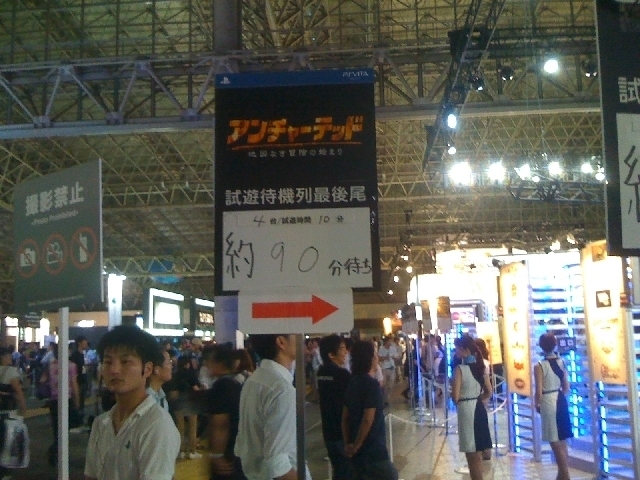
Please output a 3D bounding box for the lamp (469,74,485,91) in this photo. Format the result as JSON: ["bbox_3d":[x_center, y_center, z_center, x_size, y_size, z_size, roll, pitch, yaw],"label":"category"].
[{"bbox_3d":[2.914,-2.926,12.020,0.213,0.097,0.320,7,-39,16],"label":"lamp"}]

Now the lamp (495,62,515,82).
[{"bbox_3d":[3.601,-3.316,12.689,0.254,0.167,0.348,3,0,0],"label":"lamp"}]
